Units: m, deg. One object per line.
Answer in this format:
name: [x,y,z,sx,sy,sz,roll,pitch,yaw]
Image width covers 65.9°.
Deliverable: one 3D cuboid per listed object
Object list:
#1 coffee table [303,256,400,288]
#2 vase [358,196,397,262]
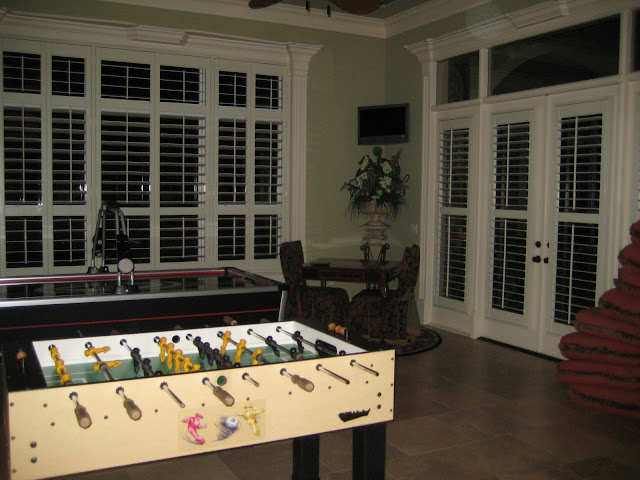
coffee table: [0.356,0.395,5.329,0.970,0.288,0.622,1,7,16]
vase: [0.723,-0.052,6.408,0.404,0.860,0.352,0,3,6]
